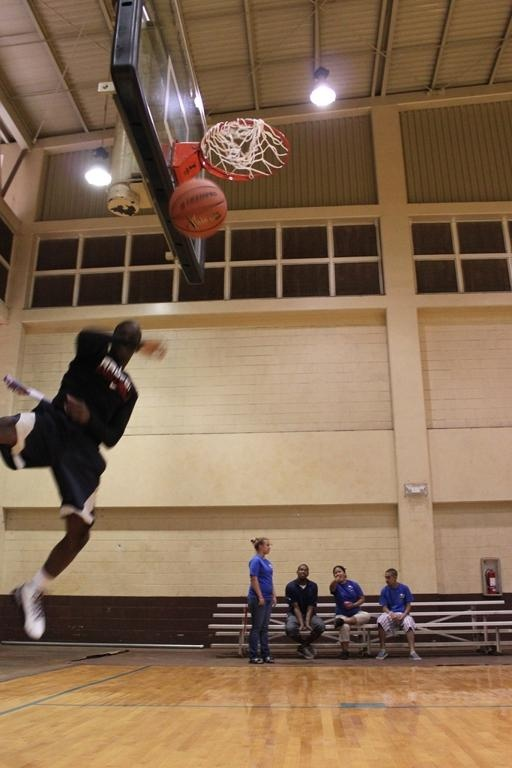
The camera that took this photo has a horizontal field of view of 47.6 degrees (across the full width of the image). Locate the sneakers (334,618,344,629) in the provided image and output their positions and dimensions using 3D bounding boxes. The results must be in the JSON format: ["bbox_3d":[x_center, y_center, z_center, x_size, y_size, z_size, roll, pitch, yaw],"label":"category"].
[{"bbox_3d":[1.014,2.901,7.048,0.099,0.121,0.187,0,-17,5],"label":"sneakers"}]

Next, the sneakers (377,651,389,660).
[{"bbox_3d":[1.498,3.212,6.870,0.090,0.105,0.266,-4,-22,15],"label":"sneakers"}]

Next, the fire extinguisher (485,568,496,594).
[{"bbox_3d":[3.673,3.077,9.002,0.197,0.367,0.082,1,-18,0],"label":"fire extinguisher"}]

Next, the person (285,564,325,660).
[{"bbox_3d":[0.600,2.835,7.212,0.448,1.113,0.619,0,-17,3],"label":"person"}]

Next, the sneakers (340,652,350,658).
[{"bbox_3d":[1.077,3.270,6.990,0.072,0.090,0.224,-1,-31,5],"label":"sneakers"}]

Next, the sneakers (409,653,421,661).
[{"bbox_3d":[1.834,3.132,6.683,0.075,0.082,0.200,2,-19,-1],"label":"sneakers"}]

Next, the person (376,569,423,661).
[{"bbox_3d":[1.702,2.798,7.060,0.467,1.023,0.772,-2,-18,12],"label":"person"}]

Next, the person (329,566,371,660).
[{"bbox_3d":[1.175,2.831,7.276,0.474,1.036,0.653,-1,-18,6],"label":"person"}]

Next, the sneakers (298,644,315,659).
[{"bbox_3d":[0.621,3.385,7.366,0.129,0.138,0.346,17,-16,-22],"label":"sneakers"}]

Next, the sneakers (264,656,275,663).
[{"bbox_3d":[0.144,3.084,6.488,0.111,0.117,0.298,3,-24,-4],"label":"sneakers"}]

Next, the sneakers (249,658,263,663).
[{"bbox_3d":[0.001,3.092,6.475,0.081,0.040,0.130,2,-18,-8],"label":"sneakers"}]
